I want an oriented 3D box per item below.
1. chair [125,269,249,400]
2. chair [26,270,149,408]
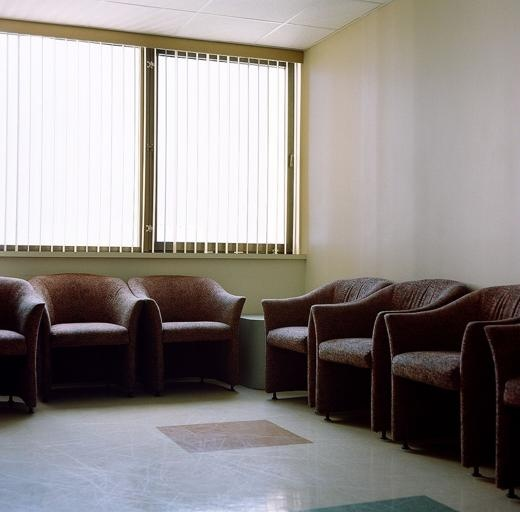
[{"bbox_3d":[-0.552,0.605,4.444,0.950,1.032,0.919,1,-5,-20],"label":"chair"},{"bbox_3d":[-1.329,0.583,4.027,0.822,0.915,0.801,3,-6,-24],"label":"chair"}]
